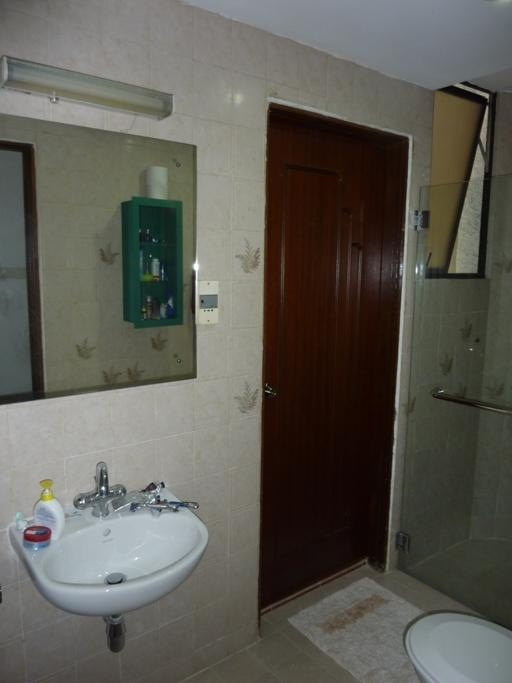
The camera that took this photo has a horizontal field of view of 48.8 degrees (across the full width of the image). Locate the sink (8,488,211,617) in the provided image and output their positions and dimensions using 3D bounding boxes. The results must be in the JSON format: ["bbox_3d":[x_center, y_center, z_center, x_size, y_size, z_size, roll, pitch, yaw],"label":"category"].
[{"bbox_3d":[-0.394,0.577,1.447,0.527,0.154,0.374,0,10,-5],"label":"sink"}]

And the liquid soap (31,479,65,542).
[{"bbox_3d":[-0.536,0.439,1.464,0.062,0.188,0.090,4,5,37],"label":"liquid soap"}]

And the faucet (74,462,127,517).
[{"bbox_3d":[-0.441,0.417,1.615,0.151,0.169,0.051,-8,30,-33],"label":"faucet"}]

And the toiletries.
[{"bbox_3d":[-0.291,-0.198,1.682,0.092,0.275,0.031,-7,16,-42],"label":"toiletries"}]
